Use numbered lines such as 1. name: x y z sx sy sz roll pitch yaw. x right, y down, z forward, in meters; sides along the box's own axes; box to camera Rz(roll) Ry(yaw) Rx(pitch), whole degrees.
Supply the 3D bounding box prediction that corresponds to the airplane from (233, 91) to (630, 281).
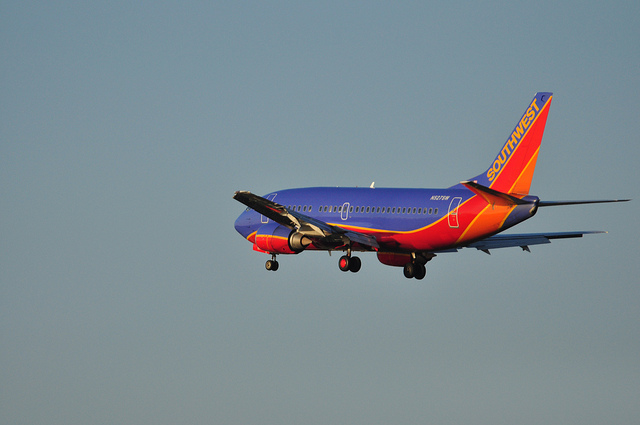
1. airplane: 4.295 0.194 58.941 10.907 12.503 4.512 0 88 41
